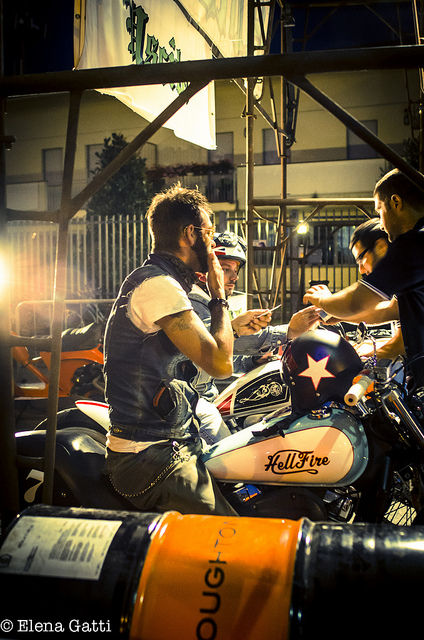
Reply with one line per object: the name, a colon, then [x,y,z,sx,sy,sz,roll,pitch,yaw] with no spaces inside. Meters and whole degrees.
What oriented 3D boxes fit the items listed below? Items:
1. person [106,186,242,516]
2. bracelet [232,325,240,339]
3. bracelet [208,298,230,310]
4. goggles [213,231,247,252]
person: [-0.143,0.107,2.539,0.552,1.421,0.569,-2,4,30]
bracelet: [0.156,0.092,3.896,0.018,0.065,0.060,-33,22,-8]
bracelet: [0.034,-0.084,2.672,0.078,0.046,0.076,-1,10,-20]
goggles: [0.123,-0.599,4.327,0.205,0.112,0.157,-6,-10,36]
